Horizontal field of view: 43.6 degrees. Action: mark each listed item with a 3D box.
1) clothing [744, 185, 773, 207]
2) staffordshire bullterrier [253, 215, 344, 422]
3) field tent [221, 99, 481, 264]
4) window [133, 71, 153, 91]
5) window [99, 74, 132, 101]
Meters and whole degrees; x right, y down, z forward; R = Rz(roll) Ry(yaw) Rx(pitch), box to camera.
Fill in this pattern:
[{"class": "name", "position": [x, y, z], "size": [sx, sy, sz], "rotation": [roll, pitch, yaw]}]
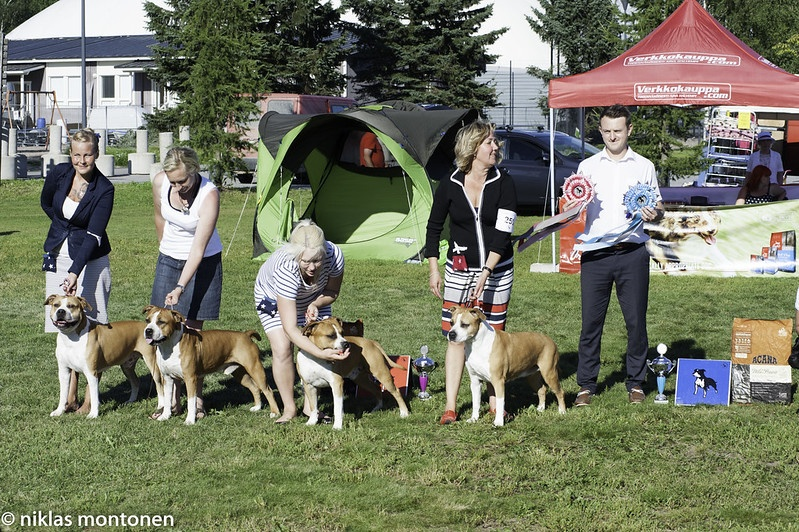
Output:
[{"class": "clothing", "position": [6.346, -1.223, 17.680], "size": [0.342, 0.404, 0.205], "rotation": [-1, -7, 18]}, {"class": "staffordshire bullterrier", "position": [-1.146, 0.651, 11.433], "size": [1.022, 2.340, 0.710], "rotation": [0, 2, 4]}, {"class": "field tent", "position": [-0.805, -1.592, 18.473], "size": [3.004, 2.243, 3.324], "rotation": [1, 7, 14]}, {"class": "window", "position": [-13.277, -9.504, 51.788], "size": [0.864, 0.922, 0.567], "rotation": [-1, 3, -18]}, {"class": "window", "position": [-14.859, -9.368, 52.466], "size": [1.141, 1.213, 0.124], "rotation": [2, 4, 9]}]
